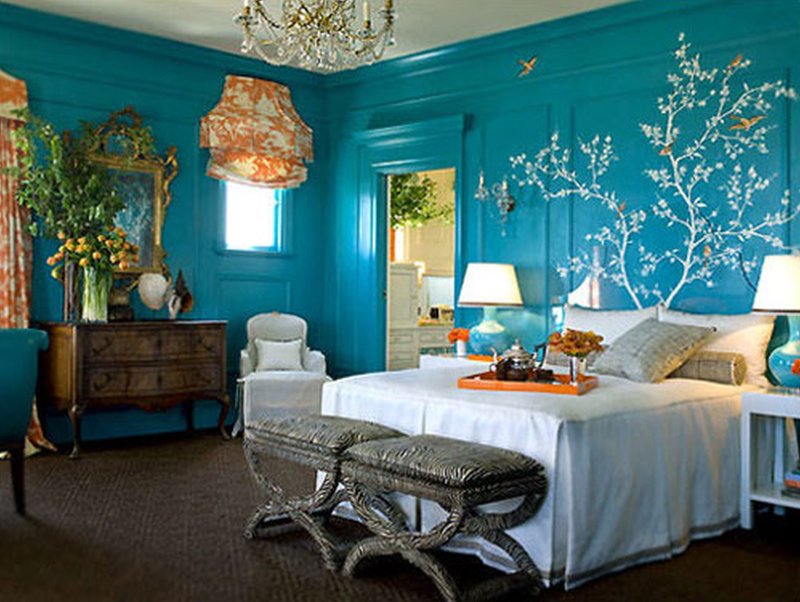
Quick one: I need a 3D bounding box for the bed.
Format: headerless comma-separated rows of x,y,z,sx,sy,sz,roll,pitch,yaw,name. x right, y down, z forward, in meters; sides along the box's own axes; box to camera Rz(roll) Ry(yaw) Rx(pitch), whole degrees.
1.034,0.701,4.075,2.392,1.172,1.949,1,0,-45,bed

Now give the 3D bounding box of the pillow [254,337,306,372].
-1.183,0.540,5.896,0.352,0.321,0.105,0,-16,-20,pillow

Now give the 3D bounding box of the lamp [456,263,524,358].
0.791,0.081,5.539,0.594,0.822,0.602,2,0,3,lamp

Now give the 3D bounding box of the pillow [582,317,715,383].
1.517,0.317,3.890,0.623,0.163,0.379,-32,16,-35,pillow

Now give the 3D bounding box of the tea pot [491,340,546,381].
0.675,0.361,3.500,0.323,0.218,0.260,1,-2,11,tea pot

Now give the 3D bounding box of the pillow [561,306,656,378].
1.371,0.277,4.002,0.435,0.277,0.126,-7,-37,47,pillow

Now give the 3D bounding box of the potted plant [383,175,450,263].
0.266,-1.091,7.855,1.068,0.586,1.063,-2,-4,22,potted plant

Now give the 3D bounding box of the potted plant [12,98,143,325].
-2.827,-0.747,5.246,0.913,1.812,0.613,0,3,-12,potted plant

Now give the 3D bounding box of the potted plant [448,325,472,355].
0.519,0.362,5.445,0.215,0.223,0.223,0,-4,-2,potted plant

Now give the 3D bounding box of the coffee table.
-2.200,0.773,5.655,1.723,1.213,0.991,1,-6,-39,coffee table

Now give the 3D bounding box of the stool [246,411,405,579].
-0.403,1.029,3.459,0.744,0.668,0.705,3,-6,36,stool
